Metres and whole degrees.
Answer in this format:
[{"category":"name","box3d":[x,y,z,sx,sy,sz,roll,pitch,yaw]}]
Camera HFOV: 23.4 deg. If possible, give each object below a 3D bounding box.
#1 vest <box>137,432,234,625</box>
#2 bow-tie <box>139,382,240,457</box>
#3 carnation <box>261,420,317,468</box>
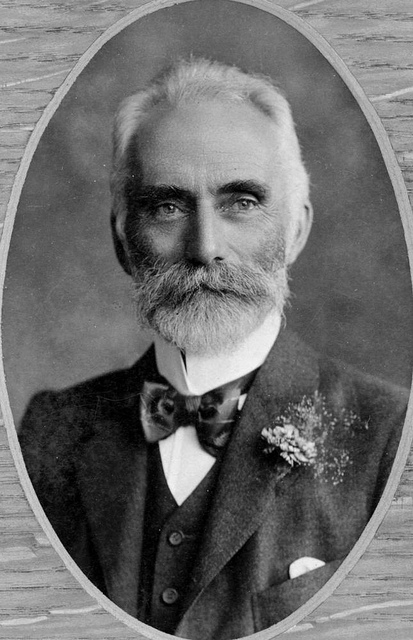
[{"category":"vest","box3d":[-0.067,0.433,1.989,0.148,0.198,0.314,9,58,1]},{"category":"bow-tie","box3d":[-0.040,0.234,2.032,0.182,0.162,0.047,6,58,3]},{"category":"carnation","box3d":[0.154,0.249,1.985,0.093,0.035,0.086,28,75,-11]}]
